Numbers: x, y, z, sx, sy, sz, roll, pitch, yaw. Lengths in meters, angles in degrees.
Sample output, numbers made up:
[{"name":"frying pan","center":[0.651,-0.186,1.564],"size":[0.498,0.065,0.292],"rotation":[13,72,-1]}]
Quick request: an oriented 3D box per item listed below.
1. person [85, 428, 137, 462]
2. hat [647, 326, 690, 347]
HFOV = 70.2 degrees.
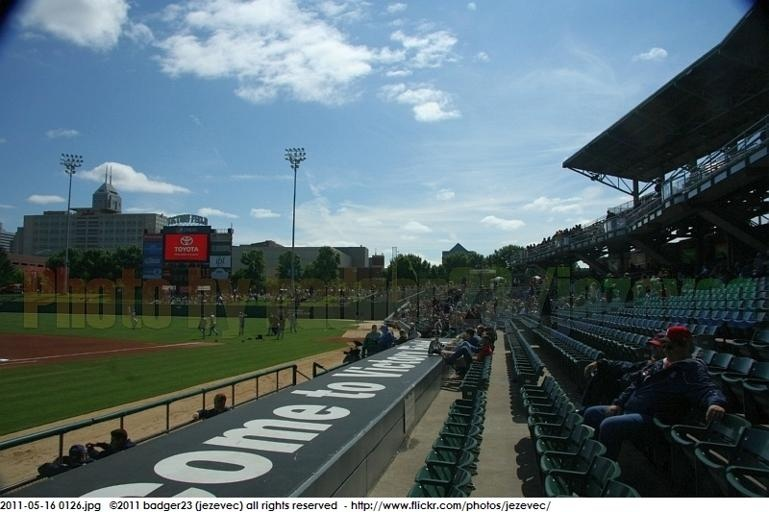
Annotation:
[{"name":"person","center":[-5.281,3.618,10.526],"size":[0.762,0.623,0.970],"rotation":[4,-6,-42]},{"name":"hat","center":[4.833,1.388,9.261],"size":[0.379,0.393,0.932],"rotation":[-1,-5,10]}]
